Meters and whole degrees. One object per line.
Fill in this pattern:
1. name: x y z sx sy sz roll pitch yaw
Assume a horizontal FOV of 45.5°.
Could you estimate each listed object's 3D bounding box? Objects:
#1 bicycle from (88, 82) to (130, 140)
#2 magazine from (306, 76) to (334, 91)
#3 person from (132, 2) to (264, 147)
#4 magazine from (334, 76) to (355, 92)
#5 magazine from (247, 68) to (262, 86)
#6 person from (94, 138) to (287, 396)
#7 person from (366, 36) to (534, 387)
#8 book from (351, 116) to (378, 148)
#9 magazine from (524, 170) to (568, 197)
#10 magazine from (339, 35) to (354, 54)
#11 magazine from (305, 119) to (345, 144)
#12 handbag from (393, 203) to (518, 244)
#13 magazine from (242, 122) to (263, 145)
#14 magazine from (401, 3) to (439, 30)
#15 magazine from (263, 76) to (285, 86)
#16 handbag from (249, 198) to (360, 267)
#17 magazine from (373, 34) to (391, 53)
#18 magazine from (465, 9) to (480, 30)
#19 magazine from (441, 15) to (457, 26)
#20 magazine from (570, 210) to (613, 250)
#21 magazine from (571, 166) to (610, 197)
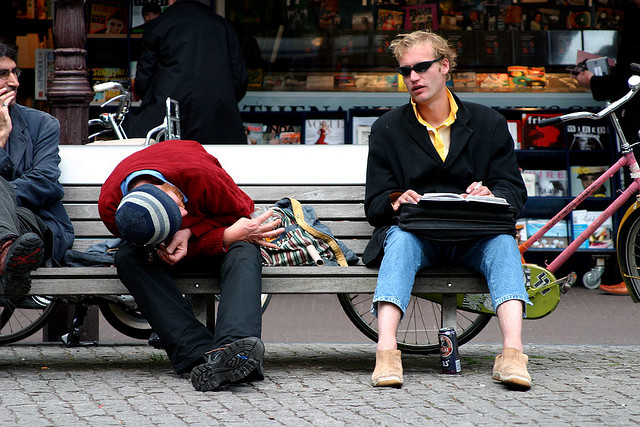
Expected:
1. bicycle: -1.926 -0.984 7.273 0.523 0.526 0.898 -1 7 -17
2. magazine: 0.024 -1.784 10.511 0.363 0.222 0.162 0 2 -2
3. person: -1.213 -1.357 7.300 1.083 1.383 0.429 0 2 -12
4. magazine: 0.350 -1.802 10.554 0.263 0.145 0.158 0 -1 -2
5. magazine: -0.865 -1.856 10.433 0.325 0.266 0.070 2 -10 -5
6. person: -0.863 0.309 5.012 1.131 1.605 0.704 0 2 6
7. person: 0.848 -0.088 5.229 1.121 2.366 0.969 0 2 10
8. book: 0.663 -1.053 10.111 0.411 0.451 0.047 0 12 16
9. magazine: 2.972 -0.375 10.020 0.519 0.411 0.110 1 -11 7
10. magazine: 0.390 -2.382 10.790 0.203 0.282 0.073 0 2 -10
11. magazine: 0.073 -1.095 10.251 0.669 0.365 0.024 5 8 38
12. handbag: 0.974 0.000 5.386 1.002 0.236 0.973 7 7 15
13. magazine: -0.877 -1.083 10.260 0.251 0.291 0.303 0 1 -6
14. magazine: 1.455 -2.817 10.958 0.508 0.398 0.129 0 2 -14
15. magazine: -0.618 -1.807 10.447 0.283 0.137 0.082 0 2 -10
16. handbag: -0.074 0.151 5.474 0.578 0.156 0.521 -4 39 -16
17. magazine: 0.886 -2.408 10.830 0.248 0.272 0.131 0 2 5
18. magazine: 2.189 -2.782 10.957 0.202 0.289 0.060 0 2 0
19. magazine: 1.853 -2.765 10.989 0.268 0.156 0.142 3 23 1
20. magazine: 3.076 0.208 8.686 0.557 0.456 0.171 1 -14 -4
21. magazine: 3.593 -0.423 10.204 0.590 0.453 0.055 -1 -1 -10
